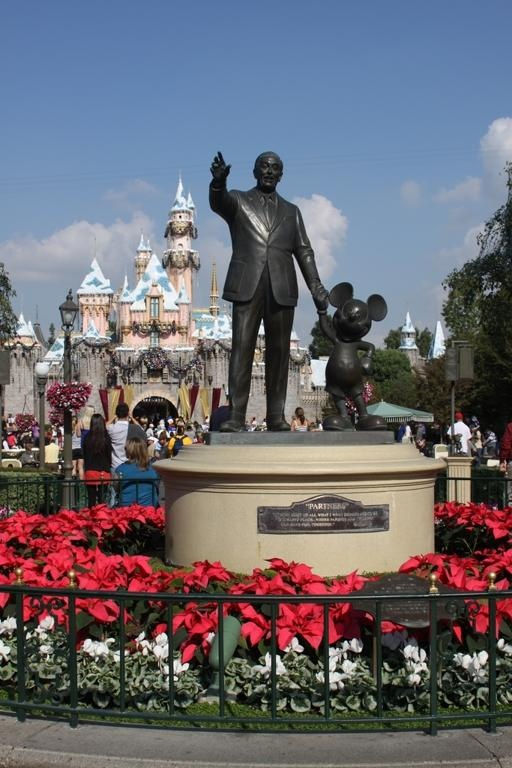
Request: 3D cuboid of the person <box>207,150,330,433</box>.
[{"bbox_3d":[-0.001,-0.619,7.843,0.527,1.886,1.000,1,0,37],"label":"person"}]
